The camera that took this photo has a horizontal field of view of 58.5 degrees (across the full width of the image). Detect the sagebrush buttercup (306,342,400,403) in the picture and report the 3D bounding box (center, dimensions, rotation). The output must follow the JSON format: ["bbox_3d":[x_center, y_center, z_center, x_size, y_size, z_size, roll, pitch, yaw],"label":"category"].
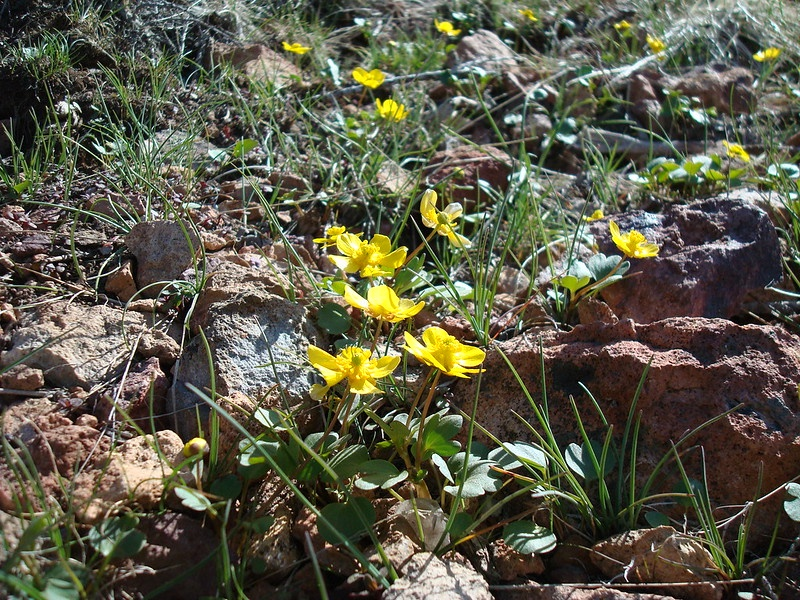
[{"bbox_3d":[-0.163,0.227,2.362,0.268,0.169,0.204,20,49,19],"label":"sagebrush buttercup"}]

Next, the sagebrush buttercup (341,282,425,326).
[{"bbox_3d":[-0.015,-0.001,2.513,0.220,0.183,0.105,15,84,33],"label":"sagebrush buttercup"}]

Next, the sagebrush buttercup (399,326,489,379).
[{"bbox_3d":[0.153,0.172,2.398,0.278,0.293,0.117,17,101,20],"label":"sagebrush buttercup"}]

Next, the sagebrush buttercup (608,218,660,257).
[{"bbox_3d":[0.990,-0.281,3.060,0.164,0.153,0.060,-6,77,-28],"label":"sagebrush buttercup"}]

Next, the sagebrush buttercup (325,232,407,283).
[{"bbox_3d":[-0.139,-0.189,2.818,0.278,0.269,0.127,-19,73,23],"label":"sagebrush buttercup"}]
